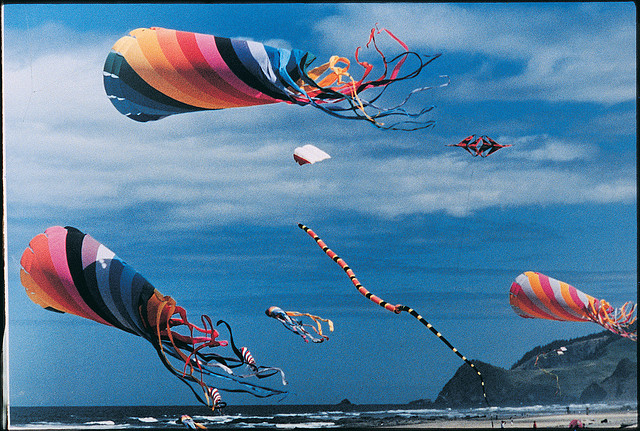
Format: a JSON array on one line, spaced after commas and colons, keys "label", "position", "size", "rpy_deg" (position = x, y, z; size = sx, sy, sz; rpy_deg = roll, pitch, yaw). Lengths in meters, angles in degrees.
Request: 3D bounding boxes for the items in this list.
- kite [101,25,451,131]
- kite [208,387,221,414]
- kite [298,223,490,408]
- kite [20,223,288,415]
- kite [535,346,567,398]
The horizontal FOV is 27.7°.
[{"label": "kite", "position": [-1.310, -2.250, 21.785], "size": [4.575, 1.919, 1.699], "rpy_deg": [-5, -9, 20]}, {"label": "kite", "position": [-1.718, 3.075, 21.580], "size": [0.137, 0.445, 0.120], "rpy_deg": [-27, -21, 22]}, {"label": "kite", "position": [1.528, 1.277, 19.210], "size": [0.322, 3.986, 0.353], "rpy_deg": [-37, -16, -18]}, {"label": "kite", "position": [-2.987, 1.437, 19.922], "size": [4.135, 1.401, 1.319], "rpy_deg": [24, -23, 6]}, {"label": "kite", "position": [4.003, 2.724, 22.610], "size": [0.546, 0.850, 0.534], "rpy_deg": [-2, -9, -2]}]
